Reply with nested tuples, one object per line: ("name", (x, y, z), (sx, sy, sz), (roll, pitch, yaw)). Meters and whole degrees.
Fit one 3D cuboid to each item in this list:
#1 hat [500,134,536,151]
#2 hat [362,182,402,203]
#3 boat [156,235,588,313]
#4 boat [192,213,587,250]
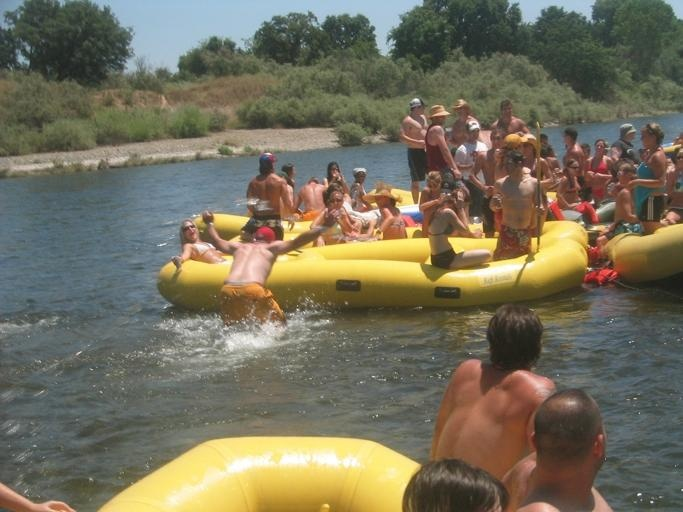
("hat", (2.326, -1.491, 10.556), (0.571, 0.165, 0.343), (-7, 14, -31))
("hat", (0.579, -0.859, 11.025), (0.413, 0.146, 0.331), (4, -3, -3))
("boat", (0.577, 0.287, 9.821), (3.867, 0.567, 1.837), (-1, 0, 3))
("boat", (0.796, -0.391, 11.167), (3.602, 0.555, 1.774), (0, -1, 3))
